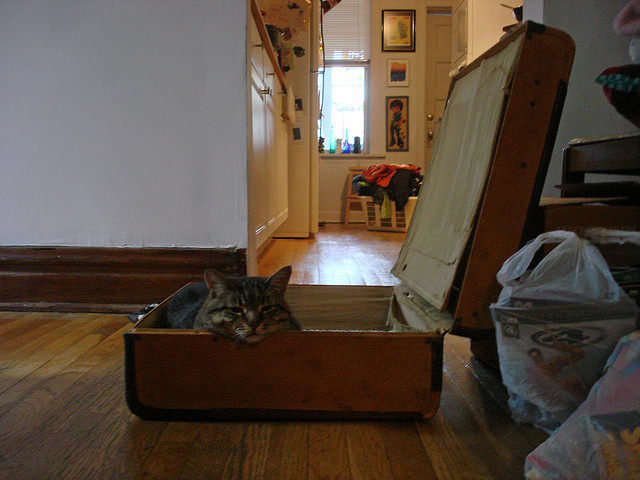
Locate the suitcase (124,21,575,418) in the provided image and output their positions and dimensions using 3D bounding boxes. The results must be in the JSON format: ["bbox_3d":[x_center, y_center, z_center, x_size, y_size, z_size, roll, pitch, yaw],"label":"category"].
[{"bbox_3d":[0.058,0.014,1.598,1.106,0.837,0.964,-2,3,5],"label":"suitcase"}]

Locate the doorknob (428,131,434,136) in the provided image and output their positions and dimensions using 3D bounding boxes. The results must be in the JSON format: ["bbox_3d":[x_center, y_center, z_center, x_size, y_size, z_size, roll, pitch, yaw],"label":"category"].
[{"bbox_3d":[1.386,-1.319,5.896,0.051,0.033,0.048,-6,11,15],"label":"doorknob"}]

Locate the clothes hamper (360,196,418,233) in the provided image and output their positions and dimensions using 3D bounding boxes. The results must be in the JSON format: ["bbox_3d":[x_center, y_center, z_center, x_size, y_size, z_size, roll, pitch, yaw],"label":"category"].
[{"bbox_3d":[0.522,-0.282,4.811,0.813,0.351,0.535,-1,6,-22],"label":"clothes hamper"}]

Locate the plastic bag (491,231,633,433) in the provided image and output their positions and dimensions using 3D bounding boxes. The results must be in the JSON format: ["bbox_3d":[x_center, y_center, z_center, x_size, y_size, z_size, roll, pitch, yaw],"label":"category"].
[{"bbox_3d":[0.560,0.199,1.108,0.330,0.472,0.136,8,1,33],"label":"plastic bag"}]

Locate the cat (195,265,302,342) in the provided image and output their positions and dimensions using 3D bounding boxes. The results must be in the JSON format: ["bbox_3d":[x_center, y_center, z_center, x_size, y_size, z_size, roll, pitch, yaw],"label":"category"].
[{"bbox_3d":[-0.206,0.172,1.250,0.260,0.172,0.218,-2,23,-4],"label":"cat"}]
